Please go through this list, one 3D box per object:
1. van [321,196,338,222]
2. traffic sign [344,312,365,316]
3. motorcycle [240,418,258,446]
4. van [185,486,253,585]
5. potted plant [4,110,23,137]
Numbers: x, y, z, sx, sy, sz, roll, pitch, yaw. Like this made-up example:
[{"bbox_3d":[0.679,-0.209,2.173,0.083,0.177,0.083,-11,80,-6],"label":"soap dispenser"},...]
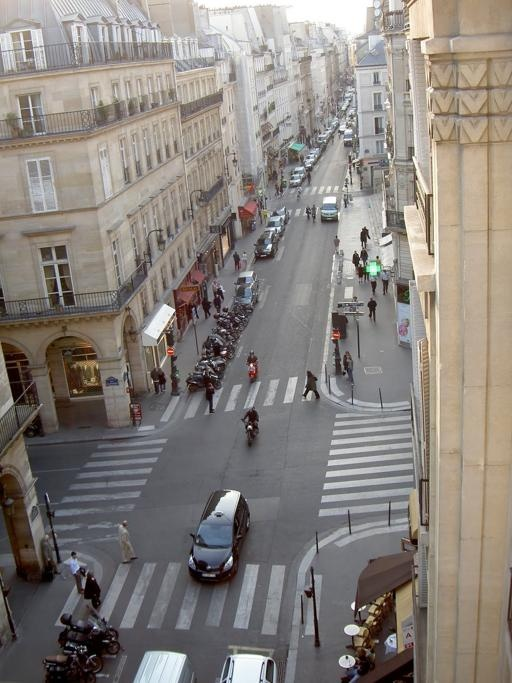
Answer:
[{"bbox_3d":[9.889,-17.841,71.869,1.862,2.165,4.181,0,20,9],"label":"van"},{"bbox_3d":[6.268,-1.820,33.790,0.672,0.276,0.753,2,11,15],"label":"traffic sign"},{"bbox_3d":[-0.291,4.858,28.889,0.555,0.821,1.197,-2,9,6],"label":"motorcycle"},{"bbox_3d":[-1.446,7.440,20.616,1.930,2.228,4.224,-1,7,-2],"label":"van"},{"bbox_3d":[-12.957,-11.587,28.574,0.936,1.172,0.452,-16,20,-29],"label":"potted plant"}]
